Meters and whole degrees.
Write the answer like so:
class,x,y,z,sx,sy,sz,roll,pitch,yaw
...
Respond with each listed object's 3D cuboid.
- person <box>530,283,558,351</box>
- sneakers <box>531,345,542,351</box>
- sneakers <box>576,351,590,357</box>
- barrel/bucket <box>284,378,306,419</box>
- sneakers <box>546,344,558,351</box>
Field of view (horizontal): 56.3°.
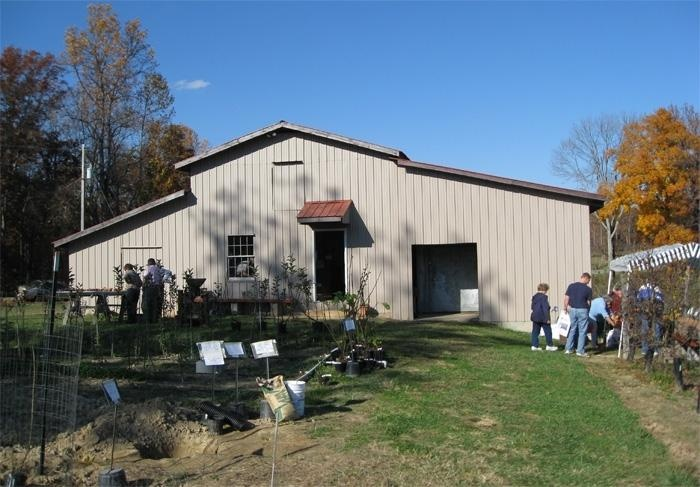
class,x,y,z,sx,sy,sz,roll,pitch,yaw
person,5.450,2.092,18.481,0.722,1.895,1.222,-3,-7,17
sneakers,5.183,2.923,18.154,0.300,0.138,0.118,2,0,-40
sneakers,6.239,2.988,17.541,0.340,0.163,0.131,1,3,4
barrel/bucket,-1.086,3.122,13.035,0.423,0.741,0.370,1,-7,-14
sneakers,5.648,2.922,18.264,0.341,0.163,0.137,0,4,-14
